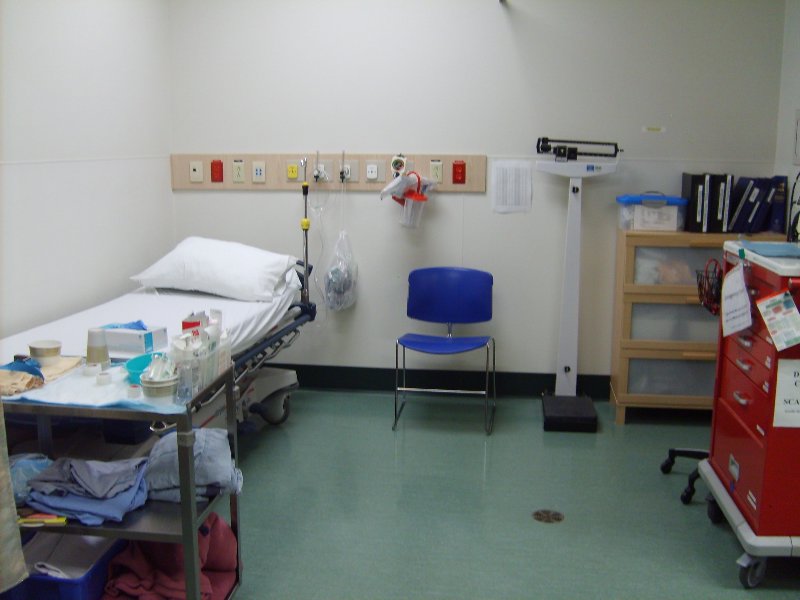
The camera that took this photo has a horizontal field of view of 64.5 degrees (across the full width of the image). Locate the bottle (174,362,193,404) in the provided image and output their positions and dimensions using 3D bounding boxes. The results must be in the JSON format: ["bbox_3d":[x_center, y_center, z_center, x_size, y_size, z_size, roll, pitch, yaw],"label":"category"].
[{"bbox_3d":[-0.707,0.286,2.155,0.084,0.123,0.112,1,1,-2],"label":"bottle"}]

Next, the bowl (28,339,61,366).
[{"bbox_3d":[-1.391,0.194,2.493,0.094,0.071,0.096,2,15,-1],"label":"bowl"}]

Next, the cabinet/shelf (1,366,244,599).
[{"bbox_3d":[-0.890,0.803,2.341,0.764,0.958,0.412,-10,14,-33],"label":"cabinet/shelf"}]

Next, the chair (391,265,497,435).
[{"bbox_3d":[0.286,0.299,4.227,0.708,0.979,0.663,0,12,6],"label":"chair"}]

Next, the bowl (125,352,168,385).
[{"bbox_3d":[-0.939,0.239,2.353,0.115,0.061,0.138,15,32,21],"label":"bowl"}]

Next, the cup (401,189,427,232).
[{"bbox_3d":[0.095,-0.605,4.280,0.189,0.246,0.203,5,21,-2],"label":"cup"}]

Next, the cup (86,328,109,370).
[{"bbox_3d":[-1.150,0.192,2.404,0.097,0.160,0.098,1,6,0],"label":"cup"}]

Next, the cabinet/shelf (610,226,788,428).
[{"bbox_3d":[2.058,0.238,3.996,0.693,1.282,1.190,7,-4,-35],"label":"cabinet/shelf"}]
